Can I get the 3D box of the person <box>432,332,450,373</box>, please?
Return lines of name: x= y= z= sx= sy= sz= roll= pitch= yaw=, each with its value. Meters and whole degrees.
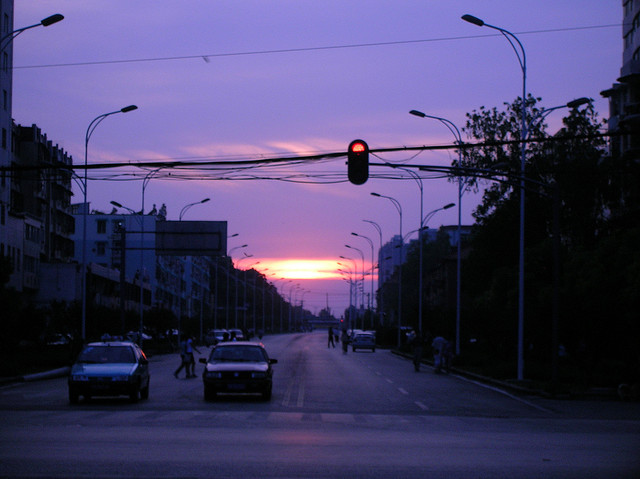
person: x=6.063 y=5.881 z=44.027 sx=0.814 sy=1.925 sz=0.830 roll=10 pitch=-26 yaw=-3

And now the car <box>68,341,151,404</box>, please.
car: x=-6.819 y=4.095 z=26.792 sx=2.392 sy=1.951 sz=2.029 roll=3 pitch=-9 yaw=-17

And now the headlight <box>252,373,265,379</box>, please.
headlight: x=-2.127 y=4.368 z=27.641 sx=0.400 sy=0.178 sz=0.068 roll=4 pitch=-9 yaw=-24

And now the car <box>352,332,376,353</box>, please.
car: x=3.618 y=9.008 z=75.258 sx=1.479 sy=1.377 sz=3.089 roll=0 pitch=1 yaw=0

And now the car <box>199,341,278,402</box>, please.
car: x=-2.882 y=4.339 z=28.454 sx=2.229 sy=1.934 sz=1.878 roll=0 pitch=-9 yaw=-1

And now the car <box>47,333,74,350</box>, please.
car: x=-23.379 y=8.896 z=74.281 sx=1.832 sy=1.228 sz=4.060 roll=3 pitch=-10 yaw=-19

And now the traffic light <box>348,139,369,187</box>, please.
traffic light: x=1.095 y=-2.328 z=25.999 sx=0.578 sy=1.349 sz=0.388 roll=0 pitch=-8 yaw=-3

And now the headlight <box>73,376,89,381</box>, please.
headlight: x=-7.473 y=4.177 z=25.960 sx=0.587 sy=0.135 sz=0.082 roll=-5 pitch=-9 yaw=25
